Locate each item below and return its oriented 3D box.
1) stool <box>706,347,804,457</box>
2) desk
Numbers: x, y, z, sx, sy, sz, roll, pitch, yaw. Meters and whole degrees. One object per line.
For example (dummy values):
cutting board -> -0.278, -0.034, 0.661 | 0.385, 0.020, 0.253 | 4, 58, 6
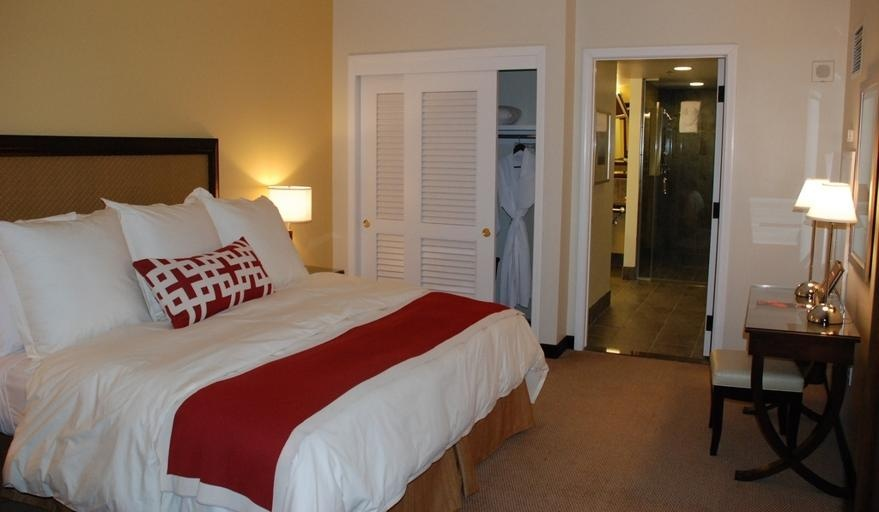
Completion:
stool -> 2.352, 1.038, 4.842 | 0.766, 0.826, 0.781 | 1, -1, 25
desk -> 2.629, 1.008, 4.525 | 0.736, 1.254, 0.886 | 5, 13, 28
